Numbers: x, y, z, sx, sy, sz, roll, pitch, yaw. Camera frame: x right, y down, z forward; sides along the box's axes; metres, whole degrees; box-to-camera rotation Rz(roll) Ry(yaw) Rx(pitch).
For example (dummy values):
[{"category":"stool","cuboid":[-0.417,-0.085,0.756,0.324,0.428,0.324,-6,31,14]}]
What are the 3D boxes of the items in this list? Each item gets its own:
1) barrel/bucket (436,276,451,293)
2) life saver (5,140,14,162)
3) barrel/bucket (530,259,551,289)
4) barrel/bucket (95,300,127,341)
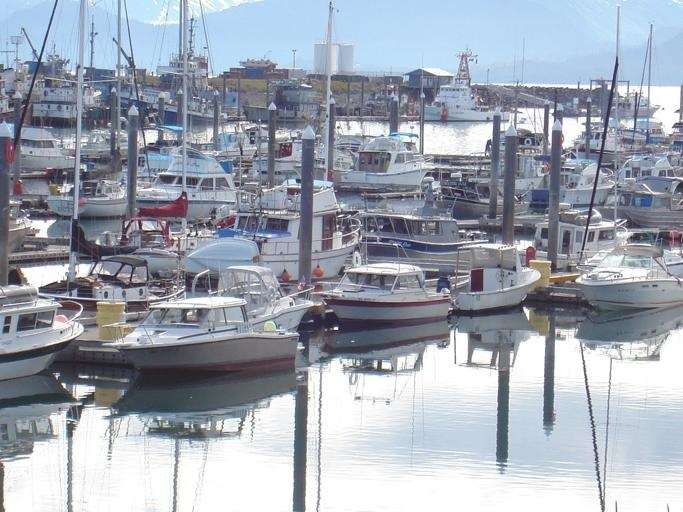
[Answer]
[{"category":"barrel/bucket","cuboid":[3.548,1.107,52.847,0.482,0.507,0.910,6,15,14]},{"category":"life saver","cuboid":[-10.992,-3.522,49.642,0.243,0.739,0.423,-1,7,-13]},{"category":"barrel/bucket","cuboid":[7.451,0.651,55.352,0.889,1.019,0.918,0,4,0]},{"category":"barrel/bucket","cuboid":[-7.335,2.137,47.641,1.115,1.772,1.146,0,-3,0]}]
